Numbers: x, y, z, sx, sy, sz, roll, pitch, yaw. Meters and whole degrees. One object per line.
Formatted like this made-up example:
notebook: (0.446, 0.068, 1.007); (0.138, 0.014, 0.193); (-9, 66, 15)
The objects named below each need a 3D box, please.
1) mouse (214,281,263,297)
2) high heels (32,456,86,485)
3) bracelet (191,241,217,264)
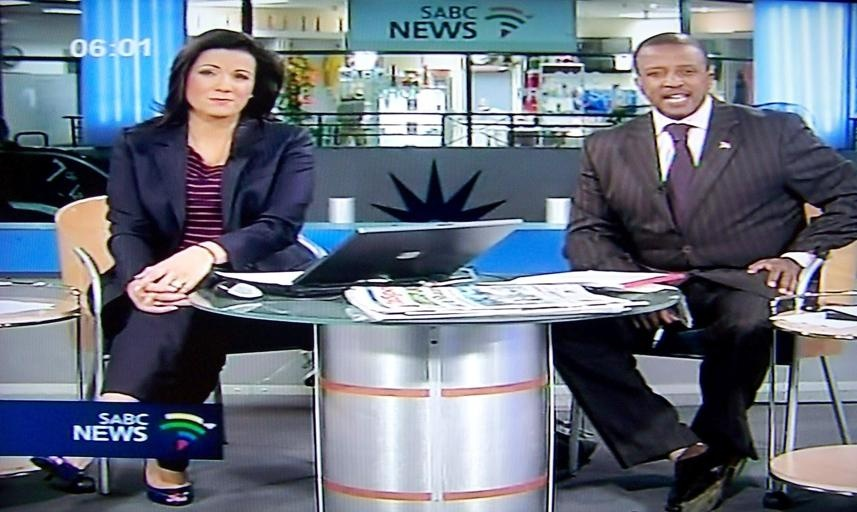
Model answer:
mouse: (-0.537, 0.096, 2.226); (0.056, 0.021, 0.146); (-18, 24, -35)
high heels: (-1.195, 0.697, 2.532); (0.177, 0.050, 0.109); (16, -5, -7)
bracelet: (-0.719, -0.011, 2.551); (0.019, 0.064, 0.074); (-29, 24, -14)
